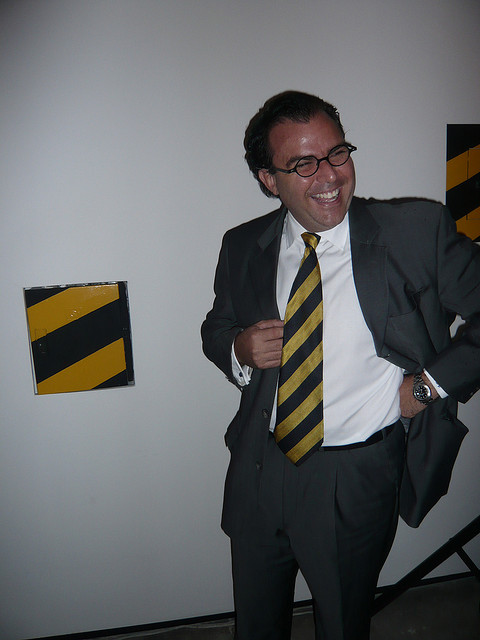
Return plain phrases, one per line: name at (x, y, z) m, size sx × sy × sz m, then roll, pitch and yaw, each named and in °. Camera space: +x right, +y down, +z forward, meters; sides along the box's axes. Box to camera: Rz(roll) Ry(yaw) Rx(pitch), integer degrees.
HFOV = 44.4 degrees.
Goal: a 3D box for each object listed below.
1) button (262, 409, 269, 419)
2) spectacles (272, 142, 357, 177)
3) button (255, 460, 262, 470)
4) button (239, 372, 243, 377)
button at (0.066, 0.235, 1.478) m, size 0.004 × 0.020 × 0.017 m, roll -7°, pitch 5°, yaw -41°
spectacles at (0.178, -0.383, 1.440) m, size 0.209 × 0.065 × 0.061 m, roll -8°, pitch 5°, yaw 20°
button at (0.049, 0.364, 1.485) m, size 0.008 × 0.023 × 0.024 m, roll -10°, pitch 5°, yaw -33°
button at (0.004, 0.145, 1.602) m, size 0.013 × 0.015 × 0.003 m, roll 5°, pitch 7°, yaw 31°
